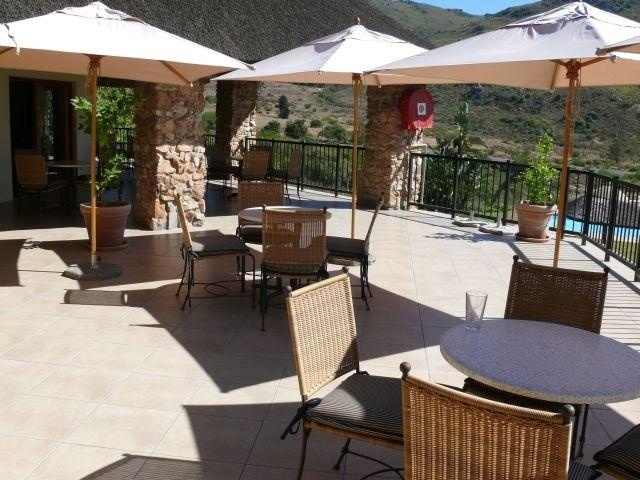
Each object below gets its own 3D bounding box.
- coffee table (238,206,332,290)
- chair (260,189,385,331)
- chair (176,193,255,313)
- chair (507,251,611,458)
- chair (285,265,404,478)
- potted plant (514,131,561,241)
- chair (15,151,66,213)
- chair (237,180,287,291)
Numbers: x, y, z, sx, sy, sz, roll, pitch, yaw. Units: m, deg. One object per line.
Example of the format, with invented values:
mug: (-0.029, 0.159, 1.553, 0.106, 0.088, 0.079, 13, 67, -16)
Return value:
coffee table: (-0.286, 0.057, 5.162, 0.958, 0.978, 0.747, 2, 21, -5)
chair: (-0.045, 0.117, 5.804, 1.503, 1.903, 1.229, 3, 10, -5)
chair: (-1.188, 0.106, 5.646, 0.981, 1.112, 0.842, 0, 8, -5)
chair: (1.530, 0.760, 3.443, 0.697, 1.052, 0.720, 2, 41, 19)
chair: (0.124, 0.817, 2.870, 0.650, 1.100, 0.902, 3, 12, 3)
potted plant: (3.671, -0.889, 8.508, 0.631, 1.792, 1.105, 7, 13, 19)
chair: (-5.597, -1.230, 10.118, 0.844, 1.107, 3.114, -5, 13, -31)
chair: (-0.711, -0.102, 6.512, 0.735, 1.142, 0.827, -6, 26, -37)
